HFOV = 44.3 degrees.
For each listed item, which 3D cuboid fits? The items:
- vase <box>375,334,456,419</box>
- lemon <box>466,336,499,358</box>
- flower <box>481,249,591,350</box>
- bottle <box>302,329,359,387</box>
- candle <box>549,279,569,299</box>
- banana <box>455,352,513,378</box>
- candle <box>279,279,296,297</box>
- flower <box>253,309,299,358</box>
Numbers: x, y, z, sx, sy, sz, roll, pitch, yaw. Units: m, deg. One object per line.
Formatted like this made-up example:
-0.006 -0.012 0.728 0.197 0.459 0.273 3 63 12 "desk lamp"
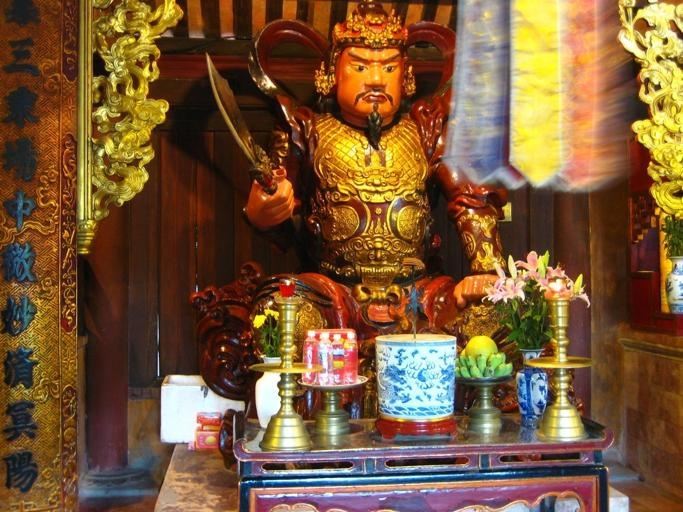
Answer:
0.342 0.557 3.835 0.374 0.401 0.386 -1 -1 19 "vase"
0.650 0.413 3.887 0.103 0.104 0.106 17 10 36 "lemon"
0.869 0.215 3.902 0.357 0.455 0.455 -1 -4 -27 "flower"
-0.045 0.454 3.725 0.225 0.235 0.234 0 -3 0 "bottle"
0.983 0.148 3.749 0.133 0.095 0.070 0 -4 -34 "candle"
0.648 0.506 3.823 0.248 0.115 0.085 -3 -3 9 "banana"
-0.233 0.139 3.636 0.065 0.078 0.068 1 -14 -4 "candle"
-0.316 0.417 4.346 0.210 0.278 0.247 -1 -29 -2 "flower"
